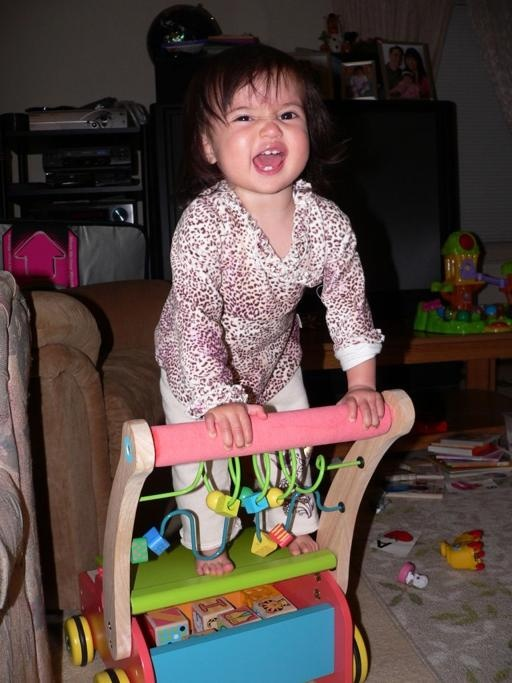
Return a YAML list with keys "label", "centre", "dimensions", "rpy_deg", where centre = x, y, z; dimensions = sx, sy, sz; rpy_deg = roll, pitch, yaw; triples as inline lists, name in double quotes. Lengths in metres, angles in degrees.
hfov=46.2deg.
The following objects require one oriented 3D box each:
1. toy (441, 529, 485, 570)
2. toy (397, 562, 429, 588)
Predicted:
- label: "toy"
  centre: [0.458, 0.458, 1.321]
  dimensions: [0.081, 0.033, 0.077]
  rpy_deg: [-1, 8, 5]
- label: "toy"
  centre: [0.321, 0.482, 1.239]
  dimensions: [0.056, 0.041, 0.023]
  rpy_deg: [23, -25, 10]
